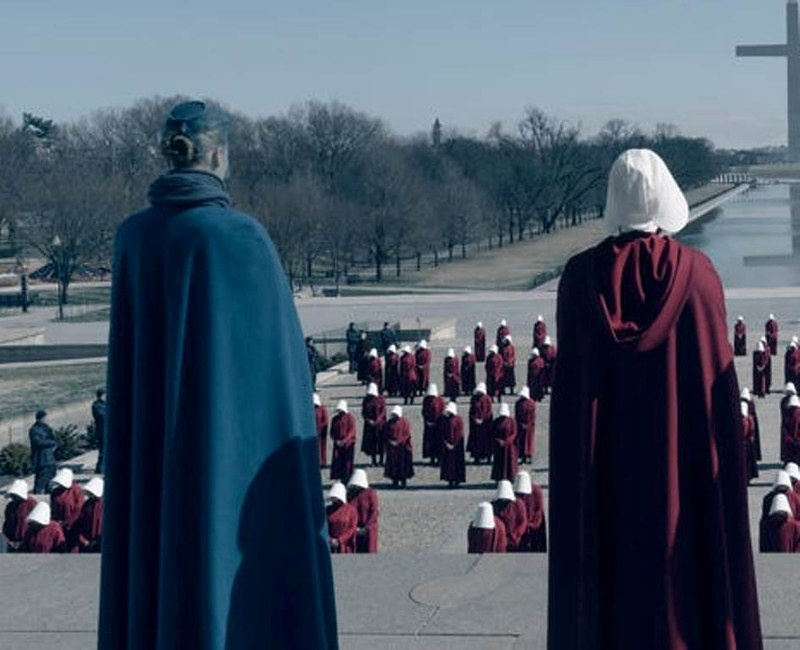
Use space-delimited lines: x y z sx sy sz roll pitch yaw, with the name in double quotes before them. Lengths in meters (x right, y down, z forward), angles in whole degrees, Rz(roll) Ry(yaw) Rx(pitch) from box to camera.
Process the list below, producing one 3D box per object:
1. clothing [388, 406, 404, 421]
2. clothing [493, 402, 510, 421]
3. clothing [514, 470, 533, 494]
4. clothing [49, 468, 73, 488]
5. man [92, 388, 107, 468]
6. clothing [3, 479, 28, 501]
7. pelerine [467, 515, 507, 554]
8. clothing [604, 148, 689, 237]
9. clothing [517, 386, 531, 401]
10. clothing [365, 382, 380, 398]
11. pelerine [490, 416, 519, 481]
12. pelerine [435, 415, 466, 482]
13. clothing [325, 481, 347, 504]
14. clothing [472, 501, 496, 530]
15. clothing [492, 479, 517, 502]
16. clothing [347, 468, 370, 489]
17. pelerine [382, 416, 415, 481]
"clothing" -0.017 2.333 56.232 0.326 0.264 0.462 1 -4 -7
"clothing" 2.808 2.344 56.722 0.480 0.612 0.591 0 2 -1
"clothing" 2.991 3.804 51.213 0.406 0.521 0.496 -1 -4 -1
"clothing" -8.127 3.736 51.885 0.453 0.368 0.639 10 -24 -11
"man" -8.053 2.736 57.484 0.375 1.898 0.403 -4 12 -15
"clothing" -9.127 3.957 51.325 0.579 0.476 0.660 2 -8 -2
"pelerine" 2.048 4.972 49.564 0.999 1.200 0.625 0 -3 1
"clothing" 5.158 -2.693 45.782 1.675 2.046 1.991 1 -2 -7
"clothing" 3.415 1.841 57.467 0.366 0.466 0.444 0 0 -1
"clothing" -0.694 1.807 59.150 0.401 0.342 0.589 -1 -6 -1
"pelerine" 2.795 3.257 56.388 0.726 1.727 0.749 -4 3 -2
"pelerine" 1.400 3.302 56.237 0.657 1.973 0.621 -4 3 -3
"clothing" -1.446 3.936 50.209 0.577 0.604 0.488 -1 3 -14
"clothing" 2.057 4.435 49.766 0.453 0.569 0.595 7 11 42
"clothing" 2.535 3.936 50.658 0.489 0.439 0.377 -4 4 -16
"clothing" -0.913 3.640 50.689 0.384 0.502 0.501 2 1 41
"pelerine" -0.020 3.303 56.224 0.767 1.944 0.556 -4 3 -2
